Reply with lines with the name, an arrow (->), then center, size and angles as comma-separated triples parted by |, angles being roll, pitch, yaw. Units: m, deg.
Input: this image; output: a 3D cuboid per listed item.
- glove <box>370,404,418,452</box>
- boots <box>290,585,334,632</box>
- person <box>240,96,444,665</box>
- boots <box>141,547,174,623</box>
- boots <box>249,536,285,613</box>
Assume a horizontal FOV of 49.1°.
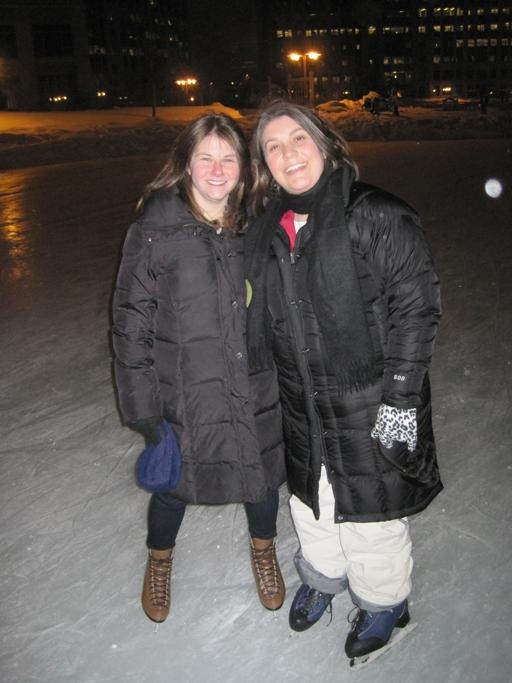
glove -> 0.437, 0.274, 1.779 | 0.154, 0.144, 0.064 | 9, 33, 23
boots -> 0.212, 1.074, 2.252 | 0.086, 0.092, 0.245 | 40, 22, 12
person -> 0.263, 0.176, 2.000 | 0.472, 1.991, 0.682 | -19, 23, -34
boots -> -0.427, 1.020, 2.355 | 0.094, 0.111, 0.285 | 6, 34, -17
boots -> 0.033, 0.995, 2.434 | 0.100, 0.122, 0.307 | -8, 41, -4
